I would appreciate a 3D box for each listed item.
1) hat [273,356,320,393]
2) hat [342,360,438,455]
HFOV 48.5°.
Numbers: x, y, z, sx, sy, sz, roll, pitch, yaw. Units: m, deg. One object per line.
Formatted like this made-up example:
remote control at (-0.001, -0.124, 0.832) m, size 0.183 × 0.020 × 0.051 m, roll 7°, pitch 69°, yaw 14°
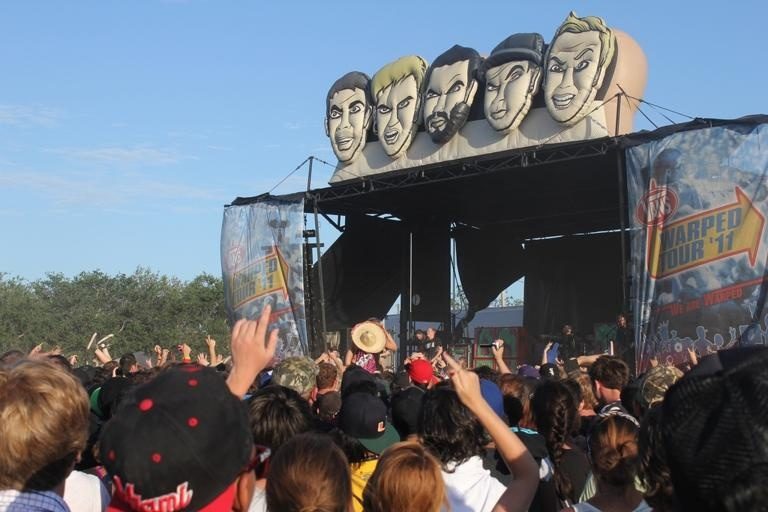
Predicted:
hat at (-0.955, 1.276, 9.352) m, size 0.290 × 0.495 × 0.445 m, roll 3°, pitch 13°, yaw 13°
hat at (-0.026, 1.514, 8.581) m, size 0.485 × 0.350 × 0.807 m, roll 5°, pitch 15°, yaw 16°
